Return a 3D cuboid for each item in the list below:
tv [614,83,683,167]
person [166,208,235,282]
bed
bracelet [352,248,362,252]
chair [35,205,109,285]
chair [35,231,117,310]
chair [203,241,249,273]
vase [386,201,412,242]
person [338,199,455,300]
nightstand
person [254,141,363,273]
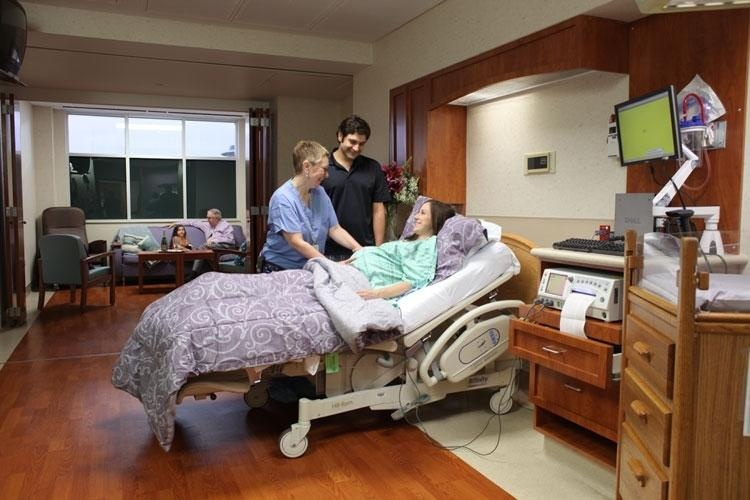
[{"bbox_3d":[1.660,-0.741,3.233,0.055,0.456,0.554,-7,6,-20],"label":"tv"},{"bbox_3d":[-2.735,-0.150,8.656,0.483,0.975,0.879,5,6,39],"label":"person"},{"bbox_3d":[-0.354,0.436,3.651,2.094,1.298,1.432,-1,3,-18],"label":"bed"},{"bbox_3d":[-0.135,-0.005,4.018,0.044,0.015,0.029,-13,14,22],"label":"bracelet"},{"bbox_3d":[-4.437,-0.110,8.004,0.829,0.995,0.896,-5,6,-42],"label":"chair"},{"bbox_3d":[-3.704,0.270,6.624,0.874,0.926,0.687,-4,10,-25],"label":"chair"},{"bbox_3d":[-2.104,0.121,8.020,0.662,0.632,0.468,5,5,32],"label":"chair"},{"bbox_3d":[0.209,-0.247,4.830,0.231,0.261,0.464,11,25,13],"label":"vase"},{"bbox_3d":[0.150,-0.007,3.615,0.714,0.315,0.550,-7,25,-2],"label":"person"},{"bbox_3d":[1.154,0.718,3.289,0.698,0.891,0.891,1,2,-28],"label":"nightstand"},{"bbox_3d":[-0.458,-0.192,3.948,0.783,1.125,0.613,18,20,36],"label":"person"}]
